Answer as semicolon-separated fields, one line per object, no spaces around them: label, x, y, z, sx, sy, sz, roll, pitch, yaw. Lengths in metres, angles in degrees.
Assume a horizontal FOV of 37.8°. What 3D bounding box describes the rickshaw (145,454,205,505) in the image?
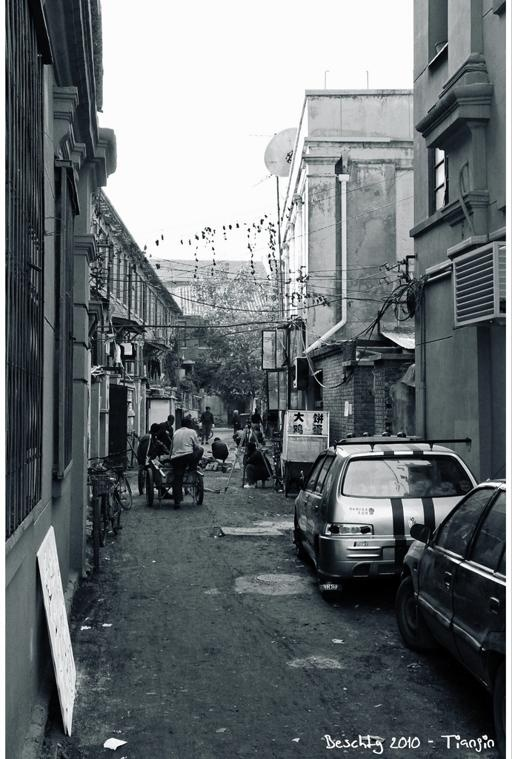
rickshaw;-1.725;2.099;15.579;0.665;1.045;1.412;2;2;-12

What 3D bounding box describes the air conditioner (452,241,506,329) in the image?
air conditioner;2.524;-1.049;8.414;0.204;0.842;1.160;0;-3;-7
